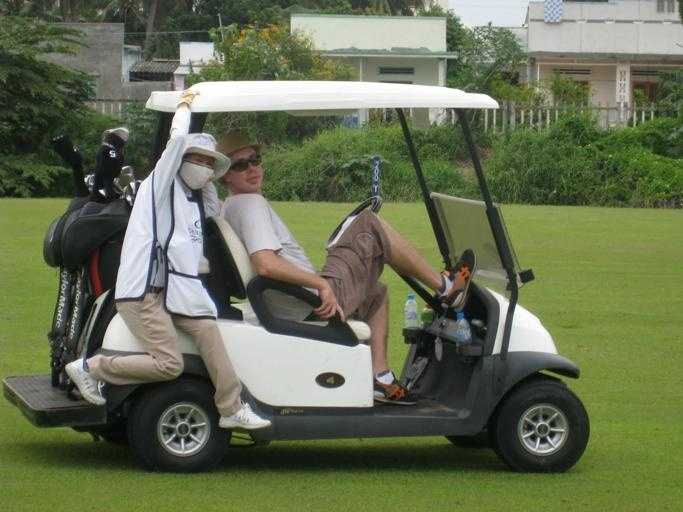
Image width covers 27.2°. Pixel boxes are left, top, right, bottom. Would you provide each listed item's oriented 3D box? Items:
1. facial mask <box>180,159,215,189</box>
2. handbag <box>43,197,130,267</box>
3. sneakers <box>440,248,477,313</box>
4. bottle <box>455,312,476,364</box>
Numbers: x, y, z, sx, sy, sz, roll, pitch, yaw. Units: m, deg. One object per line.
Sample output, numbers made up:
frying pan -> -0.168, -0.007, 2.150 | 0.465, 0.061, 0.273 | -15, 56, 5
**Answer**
facial mask -> -1.390, -0.768, 13.433 | 0.264, 0.162, 0.271 | 11, 3, -28
handbag -> -2.488, -0.260, 13.727 | 0.798, 0.452, 0.578 | -27, 28, -2
sneakers -> 1.121, 0.203, 13.933 | 0.201, 0.622, 0.267 | 13, -15, 45
bottle -> 1.178, 0.789, 13.658 | 0.165, 0.447, 0.238 | 3, 11, 6
